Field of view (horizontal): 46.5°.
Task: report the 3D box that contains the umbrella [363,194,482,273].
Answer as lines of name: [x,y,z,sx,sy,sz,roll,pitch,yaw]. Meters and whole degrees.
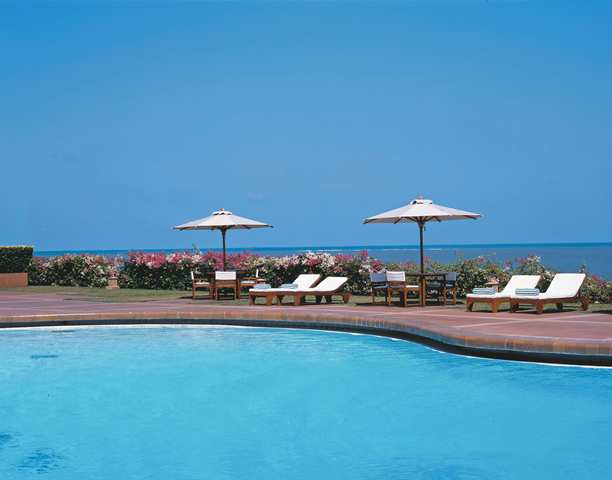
umbrella: [3.058,-0.195,18.838,2.487,1.998,1.829,-1,6,34]

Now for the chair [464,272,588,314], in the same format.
chair: [5.108,1.231,16.505,2.651,0.790,1.677,-7,6,-32]

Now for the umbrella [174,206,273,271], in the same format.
umbrella: [-2.821,-0.565,22.886,2.546,1.901,2.653,5,7,42]
